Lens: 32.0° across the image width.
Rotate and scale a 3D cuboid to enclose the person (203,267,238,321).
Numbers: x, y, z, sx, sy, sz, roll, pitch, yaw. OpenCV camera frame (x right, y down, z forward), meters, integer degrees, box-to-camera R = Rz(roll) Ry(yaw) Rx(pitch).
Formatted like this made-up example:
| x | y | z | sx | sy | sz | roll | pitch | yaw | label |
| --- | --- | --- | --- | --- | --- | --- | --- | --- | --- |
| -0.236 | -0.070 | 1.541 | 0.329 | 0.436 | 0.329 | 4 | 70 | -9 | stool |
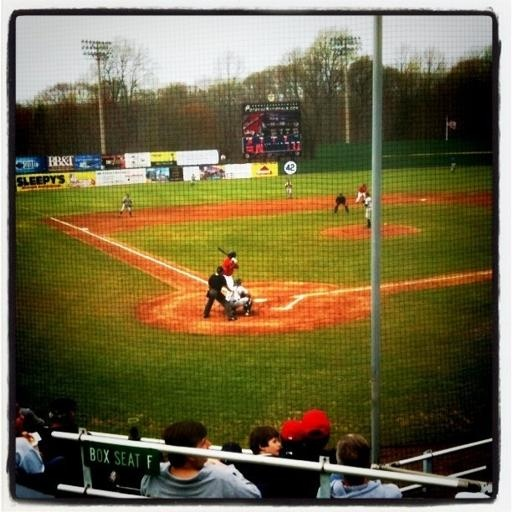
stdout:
| x | y | z | sx | sy | sz | roll | pitch | yaw | label |
| --- | --- | --- | --- | --- | --- | --- | --- | --- | --- |
| -0.562 | 0.639 | 14.314 | 0.448 | 0.842 | 0.362 | 15 | 45 | 12 | person |
